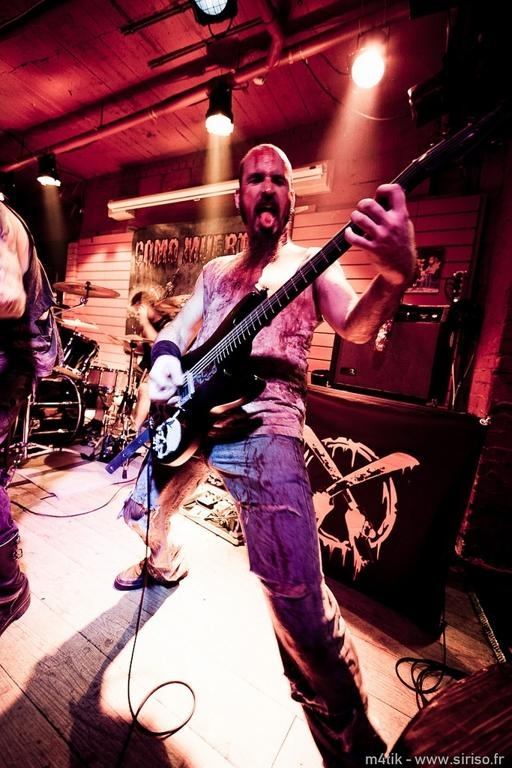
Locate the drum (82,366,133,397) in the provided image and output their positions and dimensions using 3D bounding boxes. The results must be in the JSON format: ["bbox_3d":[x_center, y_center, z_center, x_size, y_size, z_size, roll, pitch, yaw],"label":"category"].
[{"bbox_3d":[-1.394,-0.044,4.758,0.302,0.134,0.330,12,7,-1],"label":"drum"}]

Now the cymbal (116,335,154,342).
[{"bbox_3d":[-1.165,-0.444,4.855,0.259,0.061,0.247,1,15,-1],"label":"cymbal"}]

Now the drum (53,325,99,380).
[{"bbox_3d":[-1.577,-0.350,4.823,0.439,0.424,0.417,6,30,30],"label":"drum"}]

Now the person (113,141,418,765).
[{"bbox_3d":[0.050,0.147,1.730,1.161,1.970,0.427,14,10,40],"label":"person"}]

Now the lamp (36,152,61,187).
[{"bbox_3d":[-2.100,-2.152,5.102,0.225,0.288,0.205,14,10,39],"label":"lamp"}]

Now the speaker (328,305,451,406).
[{"bbox_3d":[0.756,-0.214,2.946,0.568,0.482,0.324,8,11,14],"label":"speaker"}]

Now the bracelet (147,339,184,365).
[{"bbox_3d":[-0.344,-0.114,1.944,0.099,0.095,0.097,-14,-34,26],"label":"bracelet"}]
